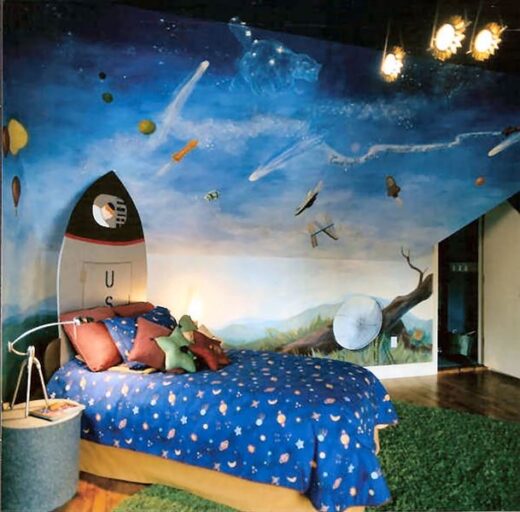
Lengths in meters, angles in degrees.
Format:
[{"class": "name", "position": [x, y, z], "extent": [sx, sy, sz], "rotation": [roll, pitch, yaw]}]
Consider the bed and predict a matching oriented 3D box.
[{"class": "bed", "position": [-0.150, 0.989, 2.830], "extent": [1.498, 0.438, 0.953], "rotation": [0, 2, 16]}]
